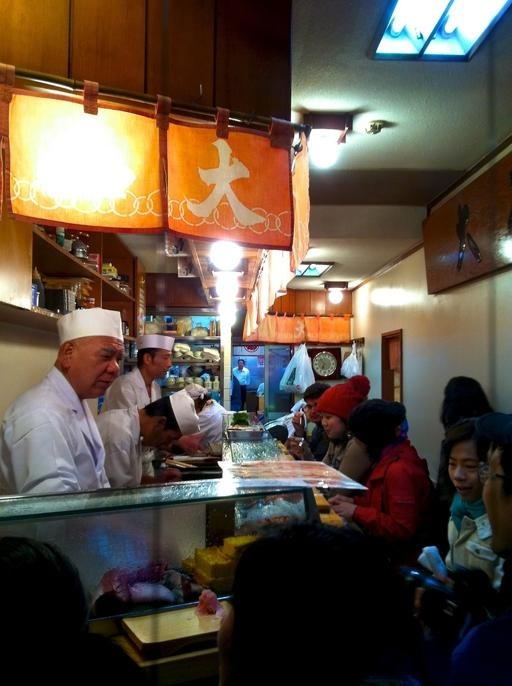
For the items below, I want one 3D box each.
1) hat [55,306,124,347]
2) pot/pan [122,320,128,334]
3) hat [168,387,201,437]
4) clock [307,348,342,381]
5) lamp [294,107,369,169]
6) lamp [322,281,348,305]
[{"bbox_3d":[-0.681,-0.068,2.099,0.198,0.125,0.199,1,-14,-19],"label":"hat"},{"bbox_3d":[-1.130,-0.136,4.498,0.028,0.097,0.067,3,-4,-7],"label":"pot/pan"},{"bbox_3d":[-0.325,0.330,2.385,0.150,0.183,0.118,-7,33,-23],"label":"hat"},{"bbox_3d":[1.268,0.367,9.390,0.624,0.588,0.143,2,2,-9],"label":"clock"},{"bbox_3d":[0.476,-1.338,3.535,0.488,0.199,0.675,1,3,2],"label":"lamp"},{"bbox_3d":[1.356,-0.832,8.922,0.422,0.358,0.339,0,-1,-3],"label":"lamp"}]
